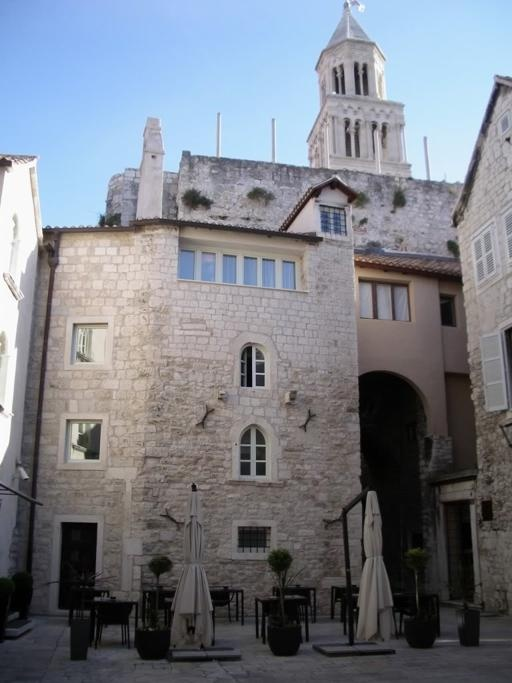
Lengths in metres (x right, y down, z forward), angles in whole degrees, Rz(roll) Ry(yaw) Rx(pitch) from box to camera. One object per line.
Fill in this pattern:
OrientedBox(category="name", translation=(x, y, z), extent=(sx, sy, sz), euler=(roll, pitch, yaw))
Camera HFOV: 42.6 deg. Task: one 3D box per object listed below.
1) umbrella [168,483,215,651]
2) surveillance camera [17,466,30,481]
OrientedBox(category="umbrella", translation=(-0.934, 3.261, 9.771), extent=(0.618, 2.309, 0.809), euler=(2, -17, -5))
OrientedBox(category="surveillance camera", translation=(-5.206, 2.921, 14.630), extent=(0.244, 0.109, 0.403), euler=(14, 15, -35))
